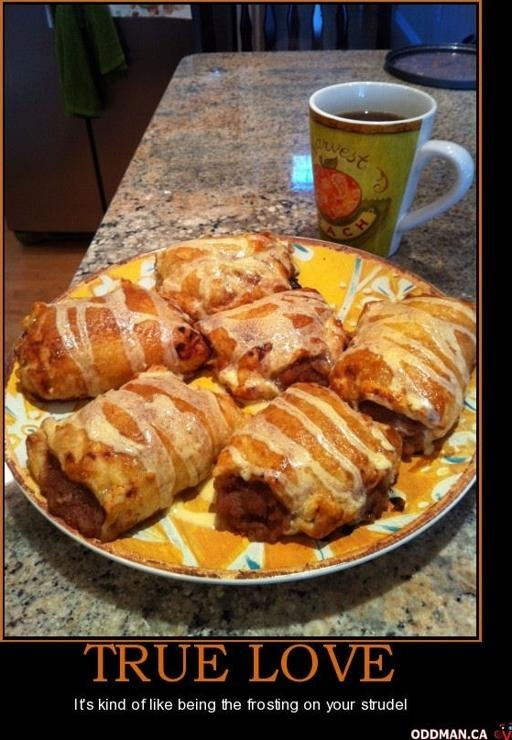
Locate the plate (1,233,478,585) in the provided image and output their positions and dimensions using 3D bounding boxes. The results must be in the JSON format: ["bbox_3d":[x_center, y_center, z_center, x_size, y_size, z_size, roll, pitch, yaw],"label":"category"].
[{"bbox_3d":[-0.015,0.001,0.766,0.583,0.077,0.599,12,42,20],"label":"plate"}]

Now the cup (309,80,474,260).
[{"bbox_3d":[0.192,-0.280,0.937,0.191,0.271,0.199,-3,40,3],"label":"cup"}]
